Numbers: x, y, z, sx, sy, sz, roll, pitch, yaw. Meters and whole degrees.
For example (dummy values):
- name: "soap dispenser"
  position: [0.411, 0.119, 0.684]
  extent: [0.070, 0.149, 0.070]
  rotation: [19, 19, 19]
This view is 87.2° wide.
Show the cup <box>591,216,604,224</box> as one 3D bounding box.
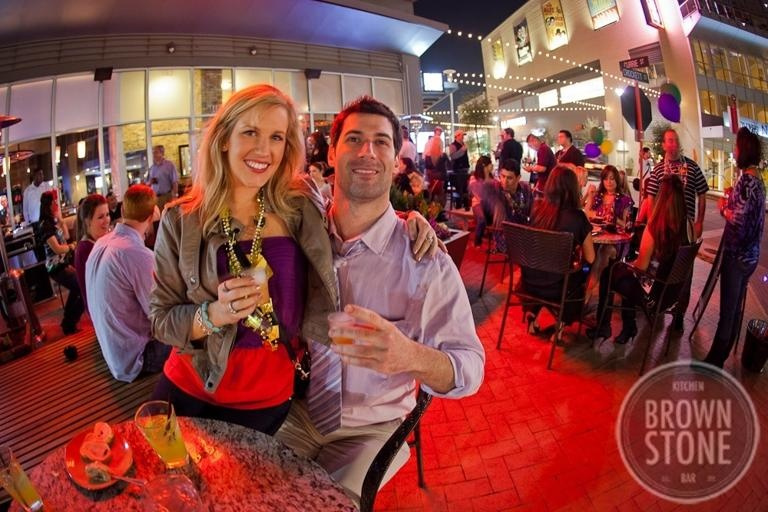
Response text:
- name: "cup"
  position: [3.182, -0.545, 6.006]
  extent: [0.115, 0.075, 0.130]
  rotation: [0, 6, 2]

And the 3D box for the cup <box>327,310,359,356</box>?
- name: "cup"
  position: [-0.188, 0.405, 2.128]
  extent: [0.178, 0.224, 0.190]
  rotation: [0, 1, 0]

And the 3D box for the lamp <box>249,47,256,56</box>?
- name: "lamp"
  position: [-3.997, -6.273, 12.245]
  extent: [0.155, 0.233, 0.093]
  rotation: [-3, -5, -7]

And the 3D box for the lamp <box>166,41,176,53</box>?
- name: "lamp"
  position: [-5.939, -5.816, 11.123]
  extent: [0.206, 0.241, 0.292]
  rotation: [-9, 29, -46]

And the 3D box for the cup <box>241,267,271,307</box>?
- name: "cup"
  position: [-0.740, 0.174, 2.347]
  extent: [0.157, 0.264, 0.225]
  rotation: [-4, 13, -16]
